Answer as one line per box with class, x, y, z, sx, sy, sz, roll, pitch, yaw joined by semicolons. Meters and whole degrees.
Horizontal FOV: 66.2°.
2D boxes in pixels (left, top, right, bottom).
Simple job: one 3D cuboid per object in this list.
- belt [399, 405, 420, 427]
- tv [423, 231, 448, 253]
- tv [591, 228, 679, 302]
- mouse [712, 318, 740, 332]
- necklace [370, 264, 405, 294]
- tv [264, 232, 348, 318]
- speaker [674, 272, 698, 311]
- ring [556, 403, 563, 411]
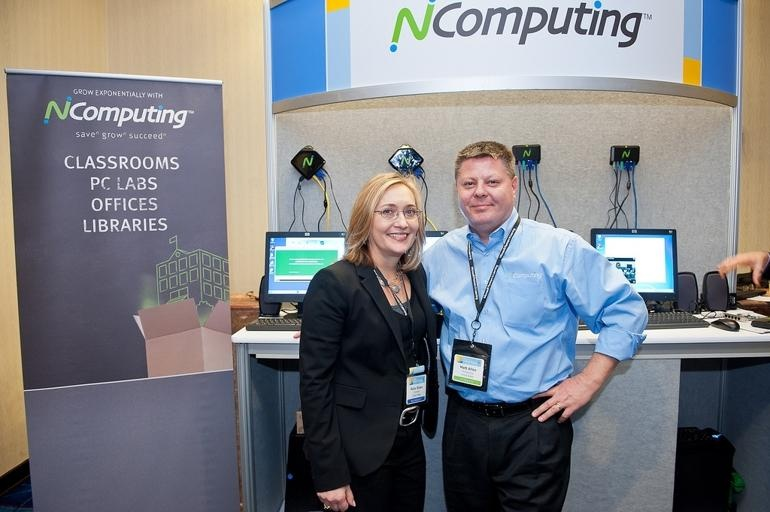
belt;0.134;0.863;3.168;0.085;0.117;0.042;17;8;-22
tv;0.336;-0.113;4.162;0.185;0.048;0.164;-4;24;11
tv;1.682;0.070;3.924;0.495;0.430;0.052;2;-4;3
mouse;2.248;0.454;3.892;0.074;0.040;0.120;-5;12;-30
necklace;0.020;0.127;3.211;0.037;0.150;0.118;-46;-19;29
tv;-0.521;0.110;3.856;0.608;0.446;0.069;0;-4;0
speaker;2.220;0.264;4.345;0.200;0.286;0.075;-2;1;0
ring;0.940;0.814;3.183;0.032;0.046;0.015;-1;2;8
